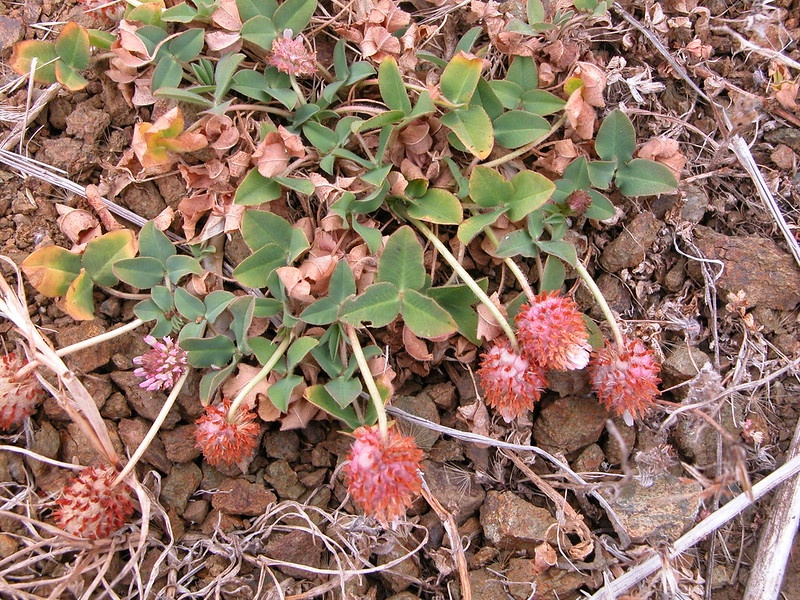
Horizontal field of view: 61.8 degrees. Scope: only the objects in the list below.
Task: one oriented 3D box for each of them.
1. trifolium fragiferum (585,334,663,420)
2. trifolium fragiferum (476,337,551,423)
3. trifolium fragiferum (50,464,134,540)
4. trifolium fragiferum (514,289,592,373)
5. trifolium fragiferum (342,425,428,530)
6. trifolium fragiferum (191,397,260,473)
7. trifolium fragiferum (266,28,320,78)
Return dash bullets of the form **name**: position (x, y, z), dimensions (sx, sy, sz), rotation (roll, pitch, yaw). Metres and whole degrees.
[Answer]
- **trifolium fragiferum**: position (0.635, 0.226, 1.894), dimensions (0.204, 0.235, 0.225), rotation (-6, 3, 2)
- **trifolium fragiferum**: position (0.294, 0.218, 1.778), dimensions (0.180, 0.161, 0.224), rotation (-2, 78, 5)
- **trifolium fragiferum**: position (-0.848, 0.578, 1.858), dimensions (0.127, 0.169, 0.191), rotation (29, 54, 24)
- **trifolium fragiferum**: position (0.433, 0.085, 1.823), dimensions (0.245, 0.222, 0.214), rotation (-2, 20, 26)
- **trifolium fragiferum**: position (-0.046, 0.412, 1.731), dimensions (0.210, 0.223, 0.232), rotation (-16, 11, 6)
- **trifolium fragiferum**: position (-0.439, 0.353, 1.876), dimensions (0.193, 0.213, 0.214), rotation (10, 81, 1)
- **trifolium fragiferum**: position (-0.304, -0.717, 1.932), dimensions (0.139, 0.130, 0.071), rotation (-35, 18, 20)
